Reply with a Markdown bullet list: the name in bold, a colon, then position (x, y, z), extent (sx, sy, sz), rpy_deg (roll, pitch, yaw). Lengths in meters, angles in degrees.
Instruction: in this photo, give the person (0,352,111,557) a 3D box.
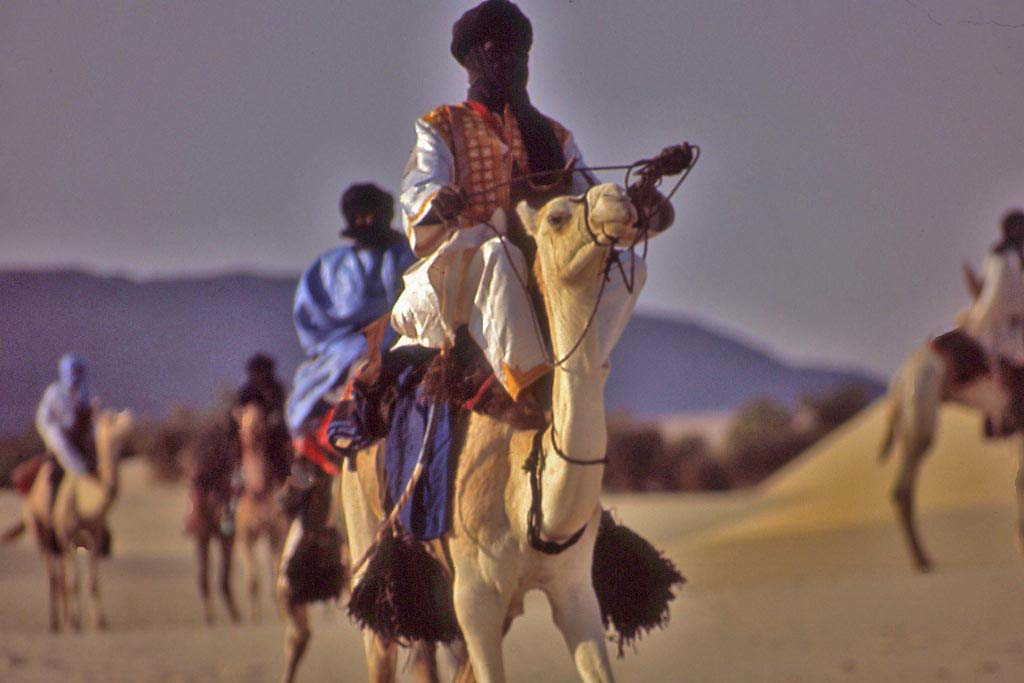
- **person**: position (-4.276, 0.986, 17.287), extent (1.062, 1.796, 0.689), rpy_deg (4, 7, -36)
